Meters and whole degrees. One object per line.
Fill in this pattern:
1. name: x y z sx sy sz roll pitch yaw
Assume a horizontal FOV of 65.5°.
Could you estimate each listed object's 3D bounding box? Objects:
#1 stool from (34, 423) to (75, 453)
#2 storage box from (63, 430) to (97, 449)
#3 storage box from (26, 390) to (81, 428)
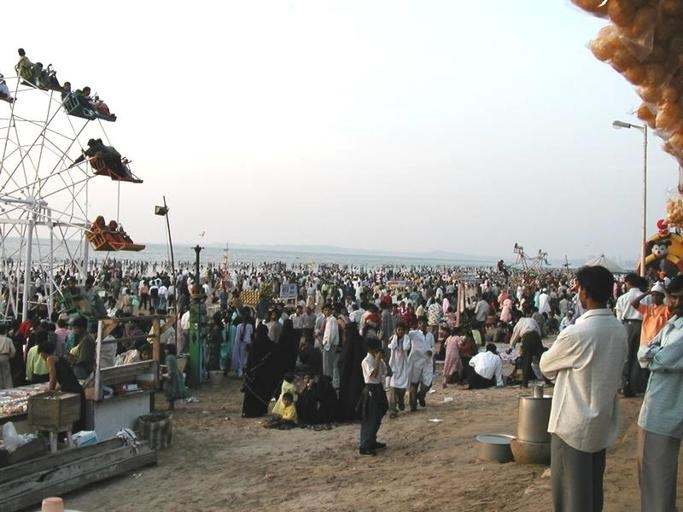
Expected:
1. stool: -3.877 2.437 7.277 0.431 0.483 0.454 0 -2 11
2. storage box: -3.705 2.616 7.602 0.191 0.099 0.257 11 15 33
3. storage box: -3.882 2.040 7.162 0.600 0.494 0.465 0 -3 4
